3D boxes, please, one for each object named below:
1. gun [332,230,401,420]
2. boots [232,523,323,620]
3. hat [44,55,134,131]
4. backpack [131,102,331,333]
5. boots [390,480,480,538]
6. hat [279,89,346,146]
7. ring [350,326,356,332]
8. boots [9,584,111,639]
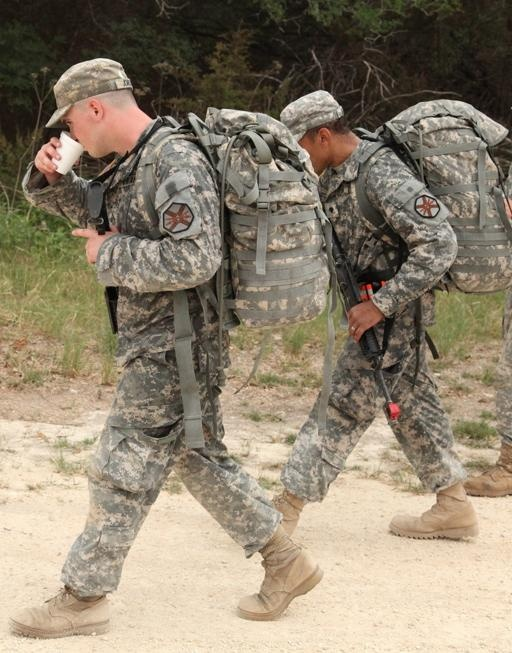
[{"bbox_3d":[0.512,-0.023,3.953,0.201,0.856,0.395,-14,-3,-5],"label":"gun"},{"bbox_3d":[0.028,0.921,3.225,0.382,0.282,0.155,-23,16,-31],"label":"boots"},{"bbox_3d":[-0.588,-0.826,3.094,0.358,0.143,0.214,-19,13,2],"label":"hat"},{"bbox_3d":[-0.033,-0.383,3.064,0.652,0.762,0.354,7,12,2],"label":"backpack"},{"bbox_3d":[0.912,0.947,4.366,0.547,0.258,0.192,1,-4,16],"label":"boots"},{"bbox_3d":[0.256,-0.975,4.033,0.371,0.154,0.209,-24,32,7],"label":"hat"},{"bbox_3d":[0.436,0.008,3.887,0.008,0.020,0.023,2,25,-31],"label":"ring"},{"bbox_3d":[-0.707,1.009,3.039,0.389,0.144,0.151,16,-9,-38],"label":"boots"}]
